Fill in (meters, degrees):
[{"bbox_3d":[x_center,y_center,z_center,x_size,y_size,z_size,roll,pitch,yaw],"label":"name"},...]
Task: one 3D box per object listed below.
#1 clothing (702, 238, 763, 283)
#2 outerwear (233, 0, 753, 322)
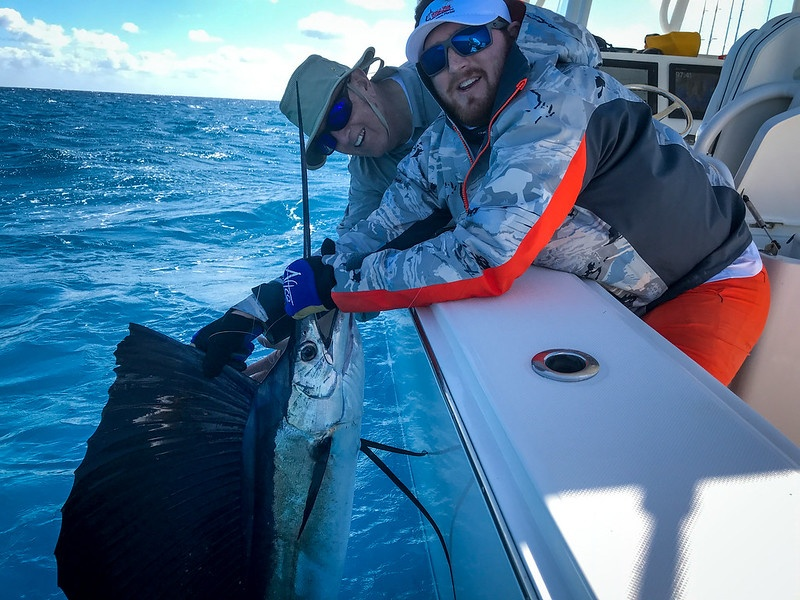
[{"bbox_3d":[1.009,-0.092,1.543,0.150,0.073,0.114,-36,18,0],"label":"clothing"},{"bbox_3d":[0.367,-0.298,1.727,1.468,0.897,0.821,-12,11,-8],"label":"outerwear"}]
